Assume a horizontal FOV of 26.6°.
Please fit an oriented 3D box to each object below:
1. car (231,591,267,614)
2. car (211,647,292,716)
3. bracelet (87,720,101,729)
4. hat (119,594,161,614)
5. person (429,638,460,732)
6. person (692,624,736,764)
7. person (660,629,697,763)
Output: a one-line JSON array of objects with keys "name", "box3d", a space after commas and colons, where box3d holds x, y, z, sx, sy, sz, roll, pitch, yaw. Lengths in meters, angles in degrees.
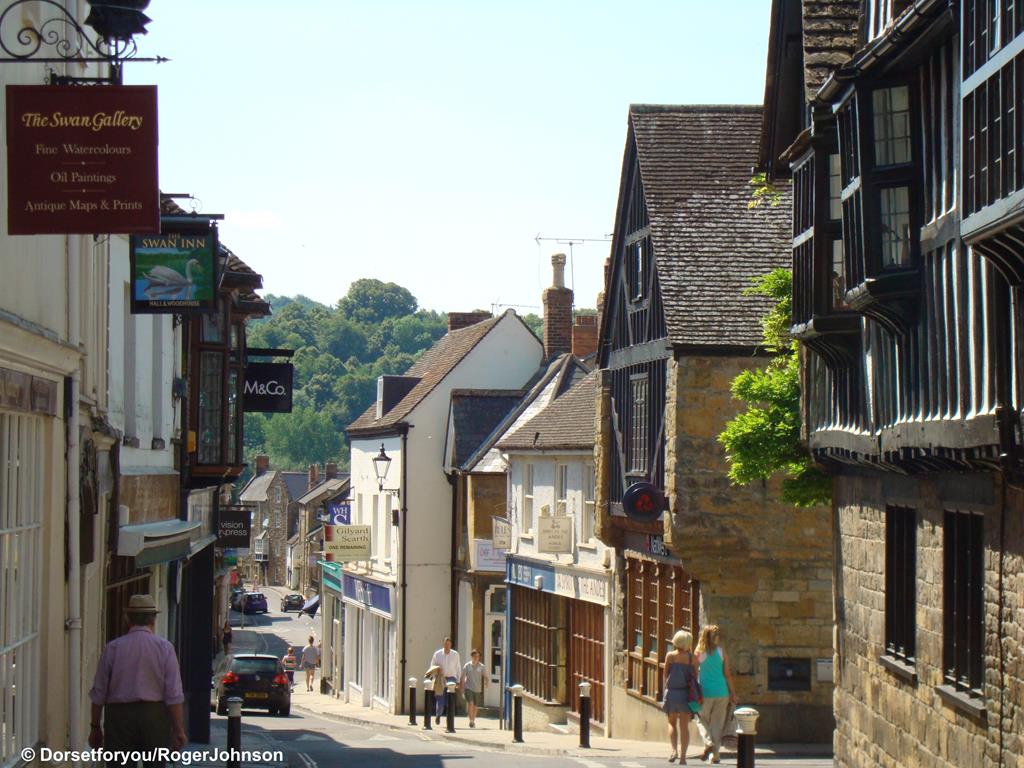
[{"name": "car", "box3d": [-10.772, 9.338, 90.139, 1.257, 0.991, 2.557, 0, 3, -15]}, {"name": "car", "box3d": [-5.339, 6.440, 44.682, 1.381, 1.482, 2.711, 1, -1, -9]}, {"name": "bracelet", "box3d": [-4.259, 3.544, 22.176, 0.079, 0.095, 0.089, 0, 3, -11]}, {"name": "hat", "box3d": [-4.179, 2.486, 24.199, 0.458, 0.234, 0.584, 4, -9, -9]}, {"name": "person", "box3d": [-1.248, 5.361, 38.678, 0.650, 1.551, 0.452, -11, 20, -34]}, {"name": "person", "box3d": [2.716, 4.241, 29.200, 0.519, 1.838, 0.814, 1, -7, 5]}, {"name": "person", "box3d": [2.277, 4.304, 29.370, 0.462, 1.812, 1.503, 1, -8, 4]}]
